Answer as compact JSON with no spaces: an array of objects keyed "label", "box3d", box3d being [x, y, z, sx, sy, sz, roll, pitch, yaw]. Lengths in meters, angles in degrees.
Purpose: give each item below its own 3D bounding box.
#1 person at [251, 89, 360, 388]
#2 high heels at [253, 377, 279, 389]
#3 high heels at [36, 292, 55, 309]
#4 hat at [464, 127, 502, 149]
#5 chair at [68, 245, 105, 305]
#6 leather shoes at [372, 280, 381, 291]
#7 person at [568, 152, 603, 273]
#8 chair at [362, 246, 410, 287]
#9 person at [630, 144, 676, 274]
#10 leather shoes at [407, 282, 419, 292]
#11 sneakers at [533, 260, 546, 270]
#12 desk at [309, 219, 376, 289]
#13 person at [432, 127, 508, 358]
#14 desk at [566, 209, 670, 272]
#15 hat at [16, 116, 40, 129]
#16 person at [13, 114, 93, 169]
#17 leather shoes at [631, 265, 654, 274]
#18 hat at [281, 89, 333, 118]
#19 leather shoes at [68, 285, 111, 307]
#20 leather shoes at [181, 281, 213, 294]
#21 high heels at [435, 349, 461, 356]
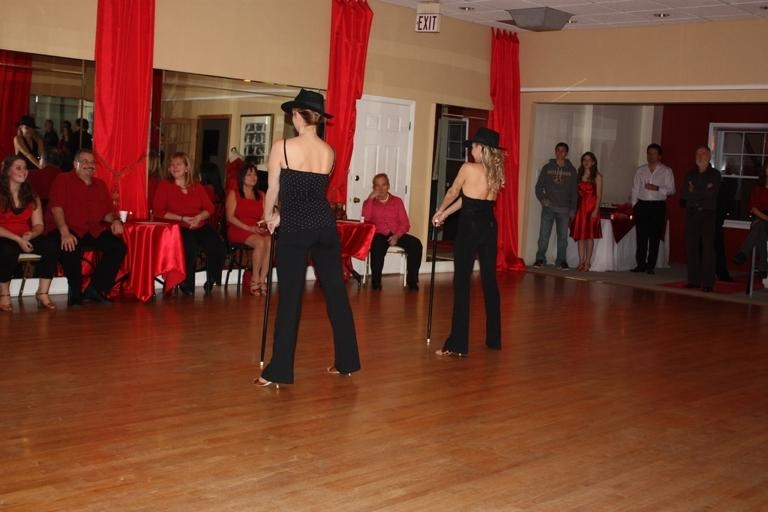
[{"label":"person","box3d":[-0.605,-0.140,4.688,0.795,2.339,0.446,0,7,-13]},{"label":"high heels","box3d":[-0.942,1.009,4.663,0.157,0.063,0.094,9,7,10]},{"label":"high heels","box3d":[-3.773,0.482,6.528,0.132,0.177,0.388,-4,9,-44]},{"label":"hat","box3d":[0.930,-1.105,5.530,0.305,0.130,0.268,15,12,21]},{"label":"chair","box3d":[-3.496,0.188,6.811,0.390,0.674,0.405,-2,8,-28]},{"label":"leather shoes","box3d":[-0.116,0.436,8.595,0.108,0.139,0.310,1,-3,-1]},{"label":"person","box3d":[3.890,-0.856,11.233,0.562,2.243,0.641,8,9,43]},{"label":"chair","box3d":[0.108,-0.022,9.168,0.698,0.659,0.604,14,9,-6]},{"label":"person","box3d":[5.049,-0.882,11.065,0.675,2.402,0.381,5,7,25]},{"label":"leather shoes","box3d":[0.437,0.450,8.738,0.168,0.088,0.261,2,8,-3]},{"label":"sneakers","box3d":[3.039,0.177,11.489,0.111,0.132,0.315,-2,-5,29]},{"label":"desk","box3d":[-0.326,0.028,8.682,0.795,0.842,0.812,19,15,11]},{"label":"person","box3d":[0.859,-0.132,5.675,0.747,2.177,0.392,-2,8,-32]},{"label":"desk","box3d":[4.705,-0.219,11.554,1.314,0.671,1.383,-1,6,-2]},{"label":"hat","box3d":[-4.209,-1.588,6.899,0.195,0.140,0.047,-4,9,-37]},{"label":"person","box3d":[-4.067,-1.345,7.233,0.756,0.435,0.559,4,-1,-32]},{"label":"leather shoes","box3d":[4.957,0.253,11.247,0.440,0.209,0.155,2,4,21]},{"label":"hat","box3d":[-0.604,-1.210,4.602,0.329,0.138,0.293,17,5,14]},{"label":"leather shoes","box3d":[-3.388,0.436,6.758,0.517,0.237,0.189,-5,7,-21]},{"label":"leather shoes","box3d":[-2.363,0.424,7.554,0.440,0.156,0.199,2,-7,-8]},{"label":"high heels","box3d":[0.632,0.949,5.676,0.193,0.050,0.089,5,-3,-17]}]
